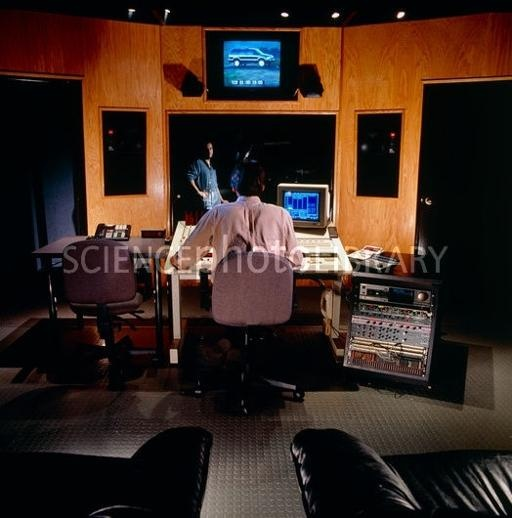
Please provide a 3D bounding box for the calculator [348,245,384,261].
[{"bbox_3d":[0.825,-0.046,3.459,0.225,0.038,0.393,7,15,26],"label":"calculator"}]

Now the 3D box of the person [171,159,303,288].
[{"bbox_3d":[-0.069,-0.263,2.990,0.823,0.759,0.467,1,16,-13],"label":"person"}]

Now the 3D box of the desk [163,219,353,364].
[{"bbox_3d":[0.009,0.305,3.712,1.276,1.261,1.090,1,11,-2],"label":"desk"}]

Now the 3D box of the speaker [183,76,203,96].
[{"bbox_3d":[-0.660,-1.773,4.728,0.173,0.205,0.132,3,11,0],"label":"speaker"}]

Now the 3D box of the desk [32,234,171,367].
[{"bbox_3d":[-1.085,0.301,3.286,0.917,0.971,0.901,-1,7,28],"label":"desk"}]

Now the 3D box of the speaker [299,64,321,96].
[{"bbox_3d":[0.526,-1.792,4.639,0.234,0.456,0.084,-1,-10,4],"label":"speaker"}]

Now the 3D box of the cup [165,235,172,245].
[{"bbox_3d":[-0.735,-0.160,3.823,0.066,0.082,0.131,0,-5,-4],"label":"cup"}]

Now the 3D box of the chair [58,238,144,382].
[{"bbox_3d":[-1.047,0.311,3.223,0.497,1.098,0.604,7,19,12],"label":"chair"}]
